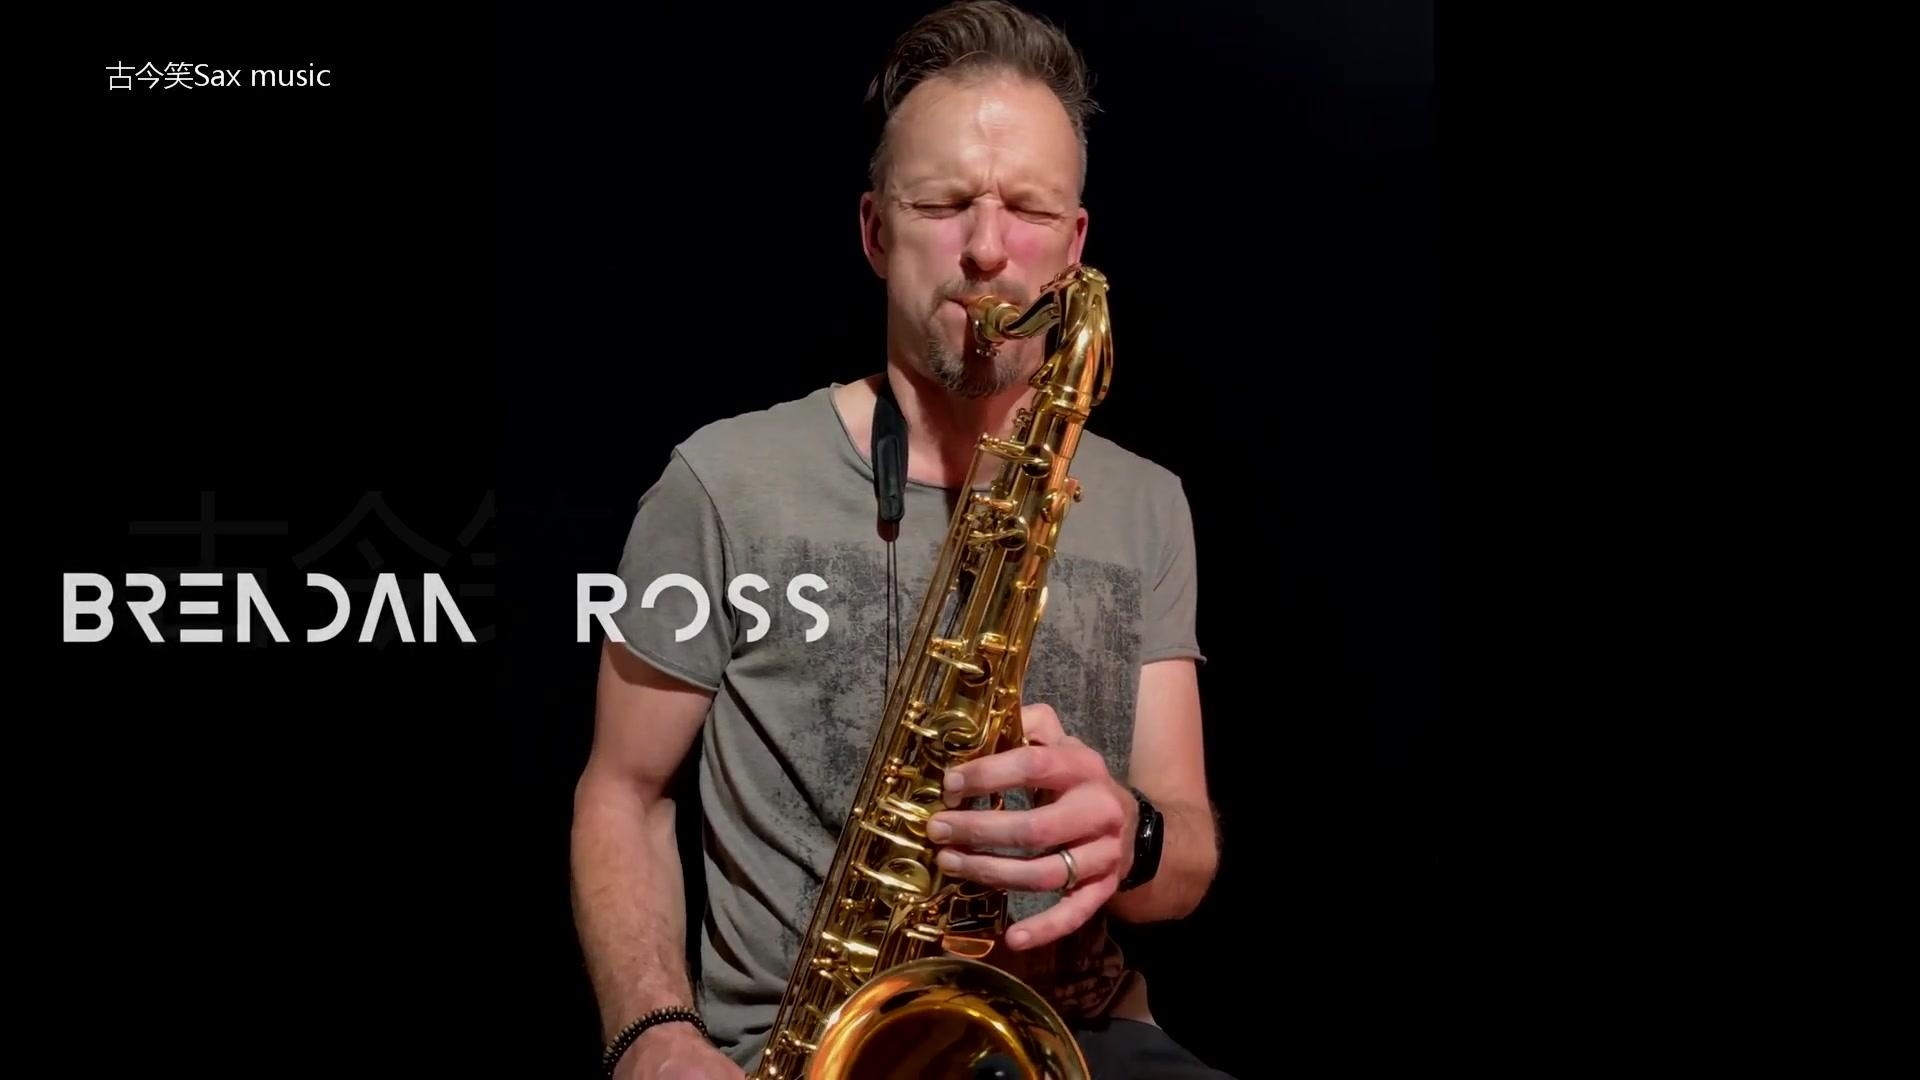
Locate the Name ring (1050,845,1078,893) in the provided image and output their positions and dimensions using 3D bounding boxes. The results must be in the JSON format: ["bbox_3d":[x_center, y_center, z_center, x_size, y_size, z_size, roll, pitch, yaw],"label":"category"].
[{"bbox_3d":[0.276,0.884,4.769,0.027,0.113,0.100,-2,27,-10],"label":"Name ring"}]

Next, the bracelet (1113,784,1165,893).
[{"bbox_3d":[0.514,0.859,5.036,0.122,0.231,0.197,1,-1,6],"label":"bracelet"}]
